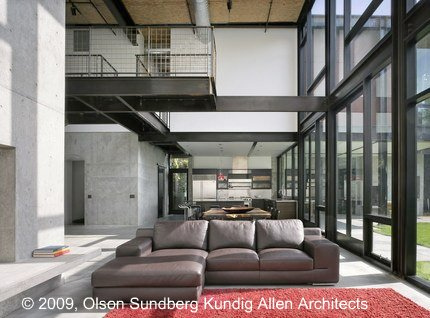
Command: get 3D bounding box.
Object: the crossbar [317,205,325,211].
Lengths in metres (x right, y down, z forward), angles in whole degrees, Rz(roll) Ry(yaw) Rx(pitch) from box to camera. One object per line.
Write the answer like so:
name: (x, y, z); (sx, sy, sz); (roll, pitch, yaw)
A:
crossbar: (2.839, 1.288, 9.522); (0.053, 0.198, 0.218); (25, -18, -34)

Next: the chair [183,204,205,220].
chair: (-0.663, 1.802, 12.078); (0.730, 0.560, 0.927); (3, -3, -6)

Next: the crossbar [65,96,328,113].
crossbar: (-0.251, -1.306, 8.778); (5.965, 0.450, 0.488); (-1, -1, 0)

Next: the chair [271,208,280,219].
chair: (1.565, 1.432, 9.256); (0.203, 0.292, 0.916); (-1, -2, 9)

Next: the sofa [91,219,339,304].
sofa: (-0.008, 1.457, 5.457); (3.463, 0.883, 1.386); (-1, -2, -16)
